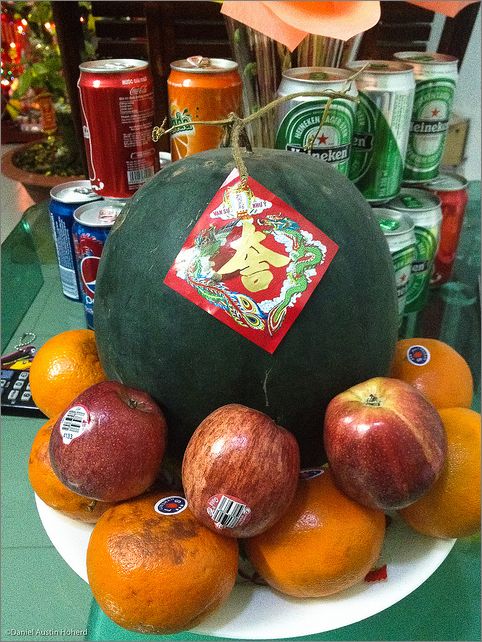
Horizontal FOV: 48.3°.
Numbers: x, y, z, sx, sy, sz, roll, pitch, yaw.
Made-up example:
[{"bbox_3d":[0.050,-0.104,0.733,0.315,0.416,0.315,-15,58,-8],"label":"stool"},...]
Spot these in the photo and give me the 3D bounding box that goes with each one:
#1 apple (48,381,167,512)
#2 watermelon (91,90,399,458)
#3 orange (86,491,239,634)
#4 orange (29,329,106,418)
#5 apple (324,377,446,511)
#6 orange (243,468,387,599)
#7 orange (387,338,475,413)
[{"bbox_3d":[-0.109,0.104,0.453,0.096,0.086,0.081,-21,37,-28],"label":"apple"},{"bbox_3d":[0.015,-0.036,0.604,0.358,0.366,0.310,-1,5,-6],"label":"watermelon"},{"bbox_3d":[-0.059,0.180,0.437,0.111,0.070,0.100,1,15,-1],"label":"orange"},{"bbox_3d":[-0.178,0.049,0.614,0.105,0.108,0.095,1,13,-7],"label":"orange"},{"bbox_3d":[0.111,0.092,0.456,0.108,0.097,0.100,-9,13,-11],"label":"apple"},{"bbox_3d":[0.063,0.174,0.474,0.105,0.067,0.096,-17,-5,-2],"label":"orange"},{"bbox_3d":[0.210,0.081,0.634,0.087,0.076,0.080,-19,28,0],"label":"orange"}]
